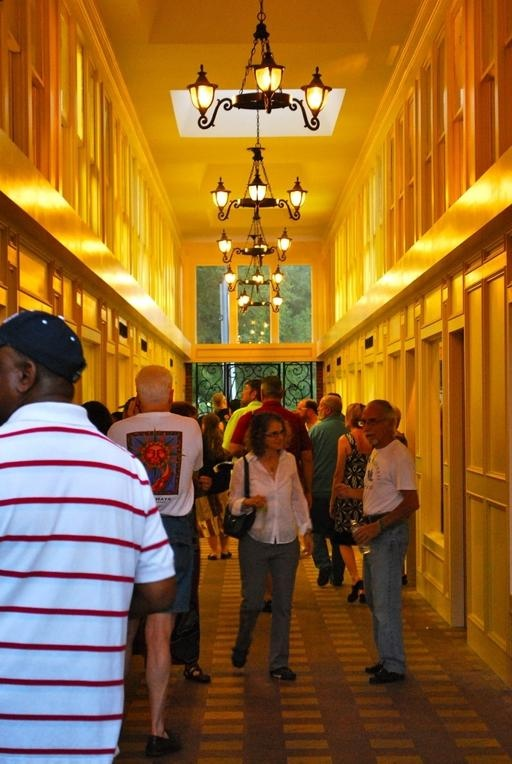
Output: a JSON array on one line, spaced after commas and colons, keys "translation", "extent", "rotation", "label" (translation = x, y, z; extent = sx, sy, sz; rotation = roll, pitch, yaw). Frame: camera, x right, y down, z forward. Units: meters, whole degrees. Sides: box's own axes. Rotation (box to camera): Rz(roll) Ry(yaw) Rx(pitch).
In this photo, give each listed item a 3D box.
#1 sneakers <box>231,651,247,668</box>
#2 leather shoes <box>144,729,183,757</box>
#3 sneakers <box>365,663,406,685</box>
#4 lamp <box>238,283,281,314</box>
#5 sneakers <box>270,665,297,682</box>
[{"translation": [-0.125, 2.118, 4.484], "extent": [0.128, 0.168, 0.170], "rotation": [2, -24, -1], "label": "sneakers"}, {"translation": [-0.490, 1.941, 3.170], "extent": [0.085, 0.105, 0.238], "rotation": [-3, -8, 24], "label": "leather shoes"}, {"translation": [0.900, 2.147, 4.287], "extent": [0.339, 0.153, 0.117], "rotation": [4, -3, -2], "label": "sneakers"}, {"translation": [0.192, -2.575, 17.336], "extent": [1.383, 0.825, 1.550], "rotation": [0, -4, 5], "label": "lamp"}, {"translation": [0.196, 2.120, 4.289], "extent": [0.169, 0.077, 0.089], "rotation": [-3, -4, 30], "label": "sneakers"}]
